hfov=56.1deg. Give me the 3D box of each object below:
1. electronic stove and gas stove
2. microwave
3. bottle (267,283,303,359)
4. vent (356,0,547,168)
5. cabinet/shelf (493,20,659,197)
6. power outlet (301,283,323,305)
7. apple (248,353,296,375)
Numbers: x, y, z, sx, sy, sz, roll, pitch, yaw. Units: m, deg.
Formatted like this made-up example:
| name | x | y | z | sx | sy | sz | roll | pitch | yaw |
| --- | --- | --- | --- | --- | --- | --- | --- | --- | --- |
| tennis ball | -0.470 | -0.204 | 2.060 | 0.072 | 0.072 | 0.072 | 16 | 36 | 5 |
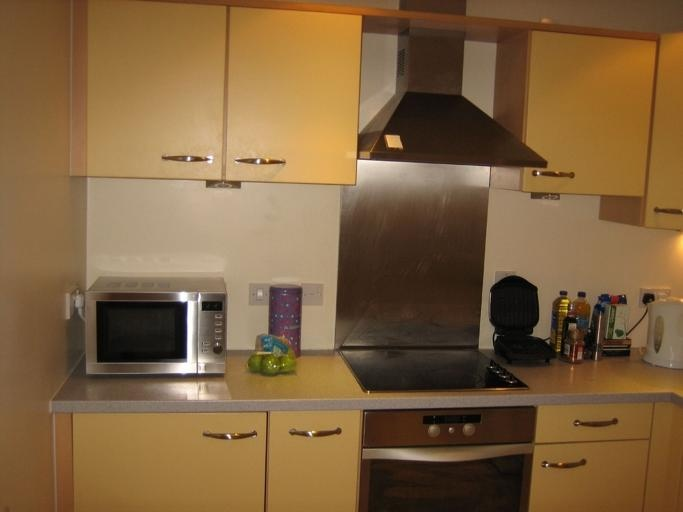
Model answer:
| name | x | y | z | sx | sy | sz | roll | pitch | yaw |
| --- | --- | --- | --- | --- | --- | --- | --- | --- | --- |
| electronic stove and gas stove | 0.388 | 0.506 | 2.911 | 0.747 | 0.077 | 0.541 | -1 | 5 | -8 |
| microwave | -0.787 | 0.305 | 2.792 | 0.581 | 0.354 | 0.361 | 1 | 7 | -7 |
| bottle | -0.263 | 0.301 | 2.933 | 0.141 | 0.329 | 0.081 | 0 | 6 | 0 |
| vent | 0.407 | -0.616 | 2.930 | 0.861 | 0.977 | 0.757 | 0 | 3 | -7 |
| cabinet/shelf | 1.299 | -0.691 | 3.218 | 0.553 | 0.760 | 0.804 | 2 | 15 | 26 |
| power outlet | -0.142 | 0.183 | 3.060 | 0.106 | 0.097 | 0.025 | 0 | 7 | -9 |
| apple | -0.306 | 0.466 | 2.779 | 0.207 | 0.096 | 0.096 | -1 | 5 | -7 |
